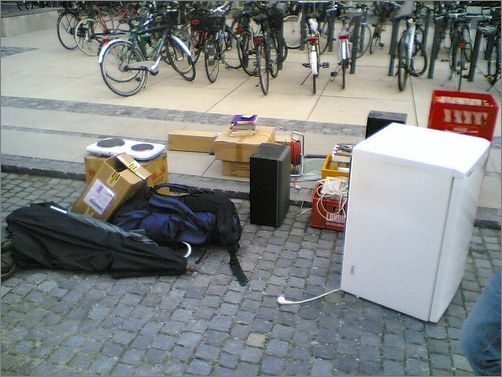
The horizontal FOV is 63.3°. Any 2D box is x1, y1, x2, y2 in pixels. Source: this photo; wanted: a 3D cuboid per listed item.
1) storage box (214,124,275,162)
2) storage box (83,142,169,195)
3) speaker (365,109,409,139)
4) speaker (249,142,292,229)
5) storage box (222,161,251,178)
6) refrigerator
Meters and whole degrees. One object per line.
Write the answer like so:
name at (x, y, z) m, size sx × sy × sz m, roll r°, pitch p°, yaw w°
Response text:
storage box at (-0.111, -0.618, 5.504) m, size 0.576 × 0.231 × 0.548 m, roll 4°, pitch 30°, yaw 13°
storage box at (-1.385, -0.215, 4.493) m, size 0.535 × 0.464 × 0.274 m, roll 10°, pitch 33°, yaw 7°
speaker at (1.824, -0.816, 5.196) m, size 0.306 × 0.360 × 0.520 m, roll -3°, pitch 9°, yaw 10°
speaker at (0.283, 0.022, 4.642) m, size 0.552 × 0.753 × 0.527 m, roll 2°, pitch 12°, yaw 7°
storage box at (-0.188, -0.254, 5.411) m, size 0.329 × 0.147 × 0.228 m, roll 6°, pitch 30°, yaw 10°
refrigerator at (1.354, 0.301, 3.495) m, size 0.939 × 1.391 × 0.784 m, roll 14°, pitch 34°, yaw 29°
